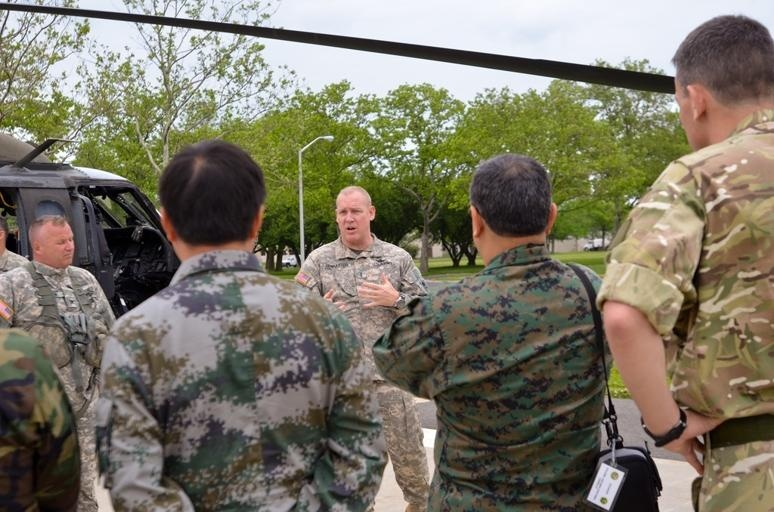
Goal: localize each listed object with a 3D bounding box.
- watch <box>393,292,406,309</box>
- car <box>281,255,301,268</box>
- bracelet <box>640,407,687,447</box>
[{"bbox_3d":[0.078,0.309,4.473,0.089,0.061,0.094,-37,-33,18],"label":"watch"},{"bbox_3d":[-9.179,0.437,61.247,2.142,1.038,1.431,6,-6,-43],"label":"car"},{"bbox_3d":[1.006,0.635,2.429,0.056,0.155,0.155,38,-11,2],"label":"bracelet"}]
